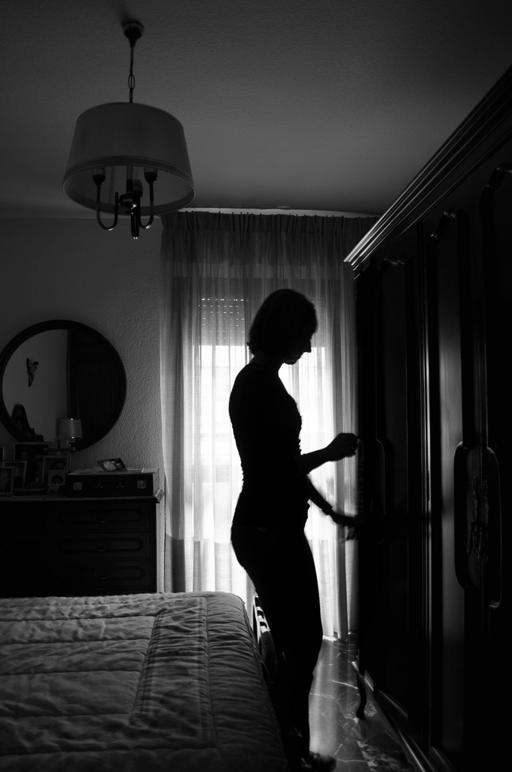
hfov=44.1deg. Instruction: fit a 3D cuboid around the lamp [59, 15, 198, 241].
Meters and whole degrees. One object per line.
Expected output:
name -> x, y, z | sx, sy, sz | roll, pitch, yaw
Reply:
lamp -> -0.378, -0.789, 1.882 | 0.290, 0.670, 0.324 | -4, -8, 31
